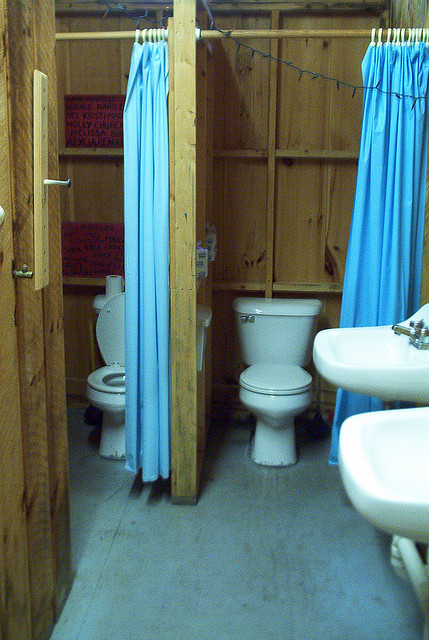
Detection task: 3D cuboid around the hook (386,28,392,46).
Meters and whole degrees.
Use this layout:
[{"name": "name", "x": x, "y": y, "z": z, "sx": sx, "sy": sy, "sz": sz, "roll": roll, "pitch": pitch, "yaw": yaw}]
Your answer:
[{"name": "hook", "x": 0.645, "y": -1.044, "z": 2.025, "sx": 0.016, "sy": 0.068, "sz": 0.098, "roll": 2, "pitch": 8, "yaw": 18}]

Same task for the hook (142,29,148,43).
[{"name": "hook", "x": -0.261, "y": -1.041, "z": 2.034, "sx": 0.016, "sy": 0.049, "sz": 0.071, "roll": -1, "pitch": 8, "yaw": -7}]

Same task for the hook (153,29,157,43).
[{"name": "hook", "x": -0.219, "y": -1.032, "z": 2.006, "sx": 0.014, "sy": 0.040, "sz": 0.031, "roll": -1, "pitch": 7, "yaw": -8}]

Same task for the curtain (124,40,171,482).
[{"name": "curtain", "x": -0.263, "y": -0.187, "z": 2.130, "sx": 0.184, "sy": 1.688, "sz": 0.224, "roll": -1, "pitch": 6, "yaw": -11}]

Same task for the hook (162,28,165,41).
[{"name": "hook", "x": -0.187, "y": -1.035, "z": 1.997, "sx": 0.007, "sy": 0.042, "sz": 0.019, "roll": 0, "pitch": 6, "yaw": -1}]

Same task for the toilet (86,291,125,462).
[{"name": "toilet", "x": -0.546, "y": 0.279, "z": 2.743, "sx": 0.184, "sy": 0.791, "sz": 0.674, "roll": -1, "pitch": 7, "yaw": -11}]

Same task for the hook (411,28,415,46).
[{"name": "hook", "x": 0.728, "y": -1.030, "z": 2.005, "sx": 0.010, "sy": 0.043, "sz": 0.024, "roll": 2, "pitch": 7, "yaw": 18}]

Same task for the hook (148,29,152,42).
[{"name": "hook", "x": -0.239, "y": -1.035, "z": 2.015, "sx": 0.014, "sy": 0.039, "sz": 0.036, "roll": -1, "pitch": 7, "yaw": -8}]

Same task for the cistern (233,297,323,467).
[{"name": "cistern", "x": 0.328, "y": 0.332, "z": 2.809, "sx": 0.323, "sy": 0.856, "sz": 0.682, "roll": -1, "pitch": 5, "yaw": 10}]

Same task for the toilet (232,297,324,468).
[{"name": "toilet", "x": 0.335, "y": 0.321, "z": 2.795, "sx": 0.319, "sy": 0.811, "sz": 0.643, "roll": -2, "pitch": 8, "yaw": 8}]
